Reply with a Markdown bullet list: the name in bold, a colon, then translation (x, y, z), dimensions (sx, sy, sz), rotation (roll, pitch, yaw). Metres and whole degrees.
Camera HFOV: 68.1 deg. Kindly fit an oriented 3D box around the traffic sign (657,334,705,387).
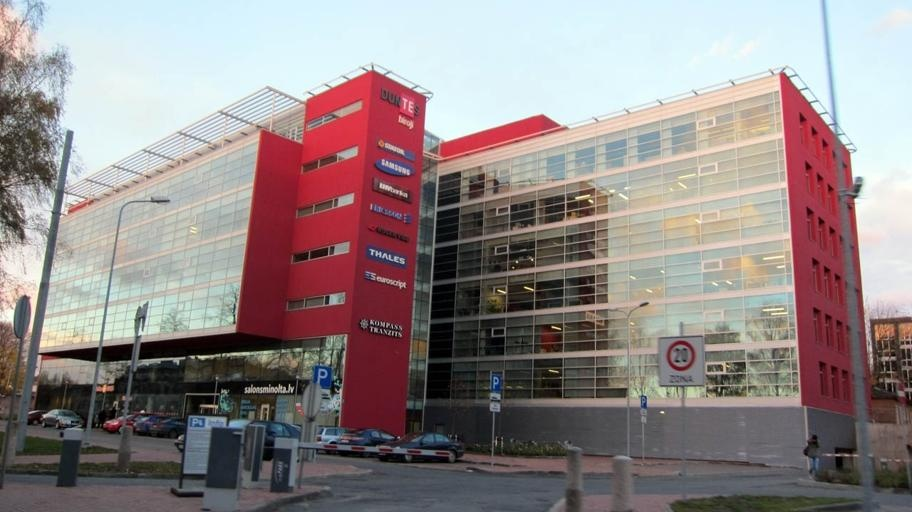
- **traffic sign**: translation (9.131, 4.207, 27.290), dimensions (1.829, 2.119, 0.805), rotation (-5, -22, 14)
